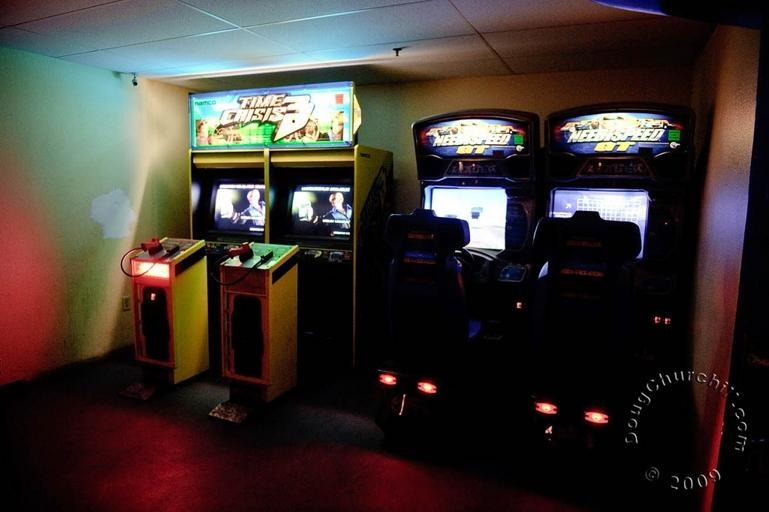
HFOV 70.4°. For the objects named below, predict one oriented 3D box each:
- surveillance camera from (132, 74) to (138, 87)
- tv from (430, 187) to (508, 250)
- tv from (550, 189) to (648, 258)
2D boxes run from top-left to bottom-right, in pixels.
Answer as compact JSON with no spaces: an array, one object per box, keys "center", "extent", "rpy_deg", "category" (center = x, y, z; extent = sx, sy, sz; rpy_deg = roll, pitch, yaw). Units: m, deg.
[{"center":[-2.844,-1.983,6.211],"extent":[0.058,0.118,0.093],"rpy_deg":[1,7,-25],"category":"surveillance camera"},{"center":[0.845,-0.421,5.561],"extent":[1.025,0.679,0.134],"rpy_deg":[7,3,42],"category":"tv"},{"center":[1.840,-0.258,4.589],"extent":[0.661,0.493,0.226],"rpy_deg":[4,-3,24],"category":"tv"}]
